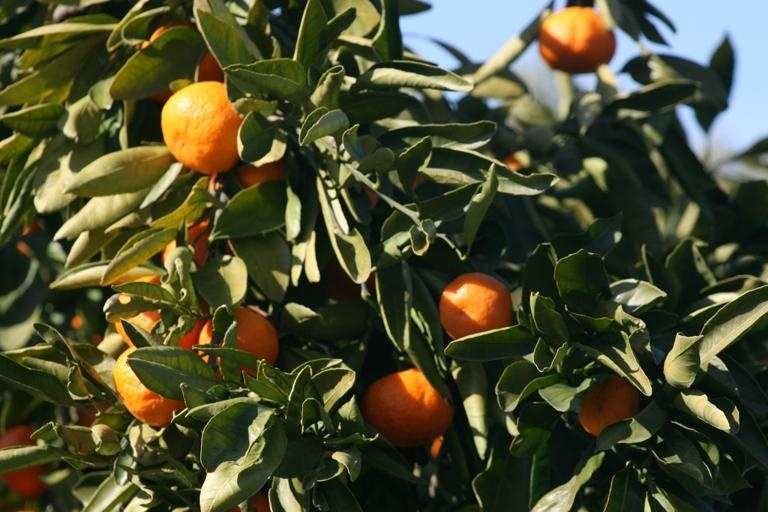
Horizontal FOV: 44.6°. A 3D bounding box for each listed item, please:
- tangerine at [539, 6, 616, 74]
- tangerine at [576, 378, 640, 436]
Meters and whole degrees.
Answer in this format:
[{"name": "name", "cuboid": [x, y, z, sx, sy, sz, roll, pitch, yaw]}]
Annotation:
[{"name": "tangerine", "cuboid": [0.303, -0.341, 1.473, 0.119, 0.097, 0.087, 8, 38, 10]}, {"name": "tangerine", "cuboid": [0.323, 0.214, 1.298, 0.090, 0.086, 0.061, -13, 38, -16]}]
